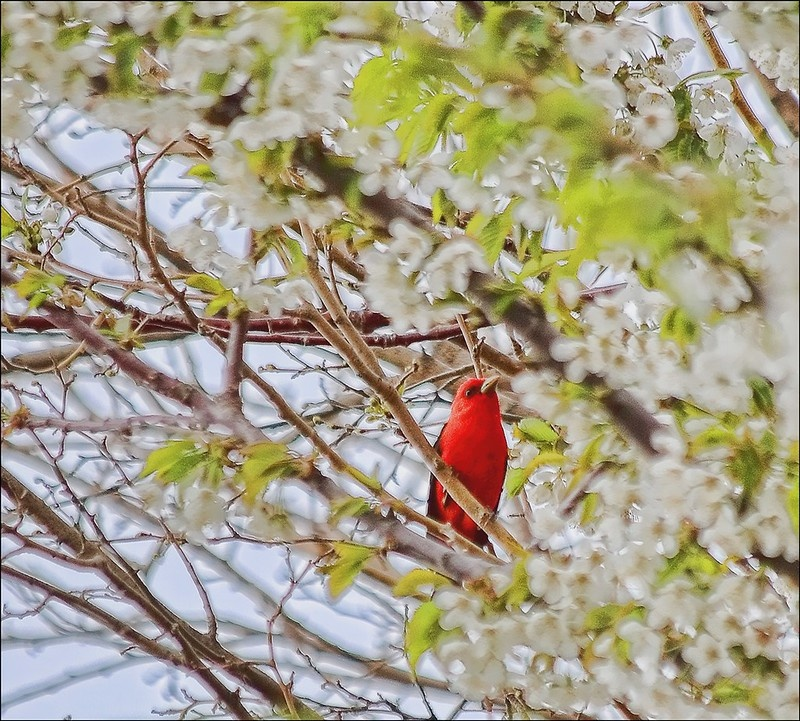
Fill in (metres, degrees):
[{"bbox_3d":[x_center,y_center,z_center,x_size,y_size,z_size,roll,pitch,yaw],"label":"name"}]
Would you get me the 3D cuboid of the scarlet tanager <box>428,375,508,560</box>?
[{"bbox_3d":[0.070,0.111,1.457,0.072,0.150,0.144,14,-60,-6],"label":"scarlet tanager"}]
